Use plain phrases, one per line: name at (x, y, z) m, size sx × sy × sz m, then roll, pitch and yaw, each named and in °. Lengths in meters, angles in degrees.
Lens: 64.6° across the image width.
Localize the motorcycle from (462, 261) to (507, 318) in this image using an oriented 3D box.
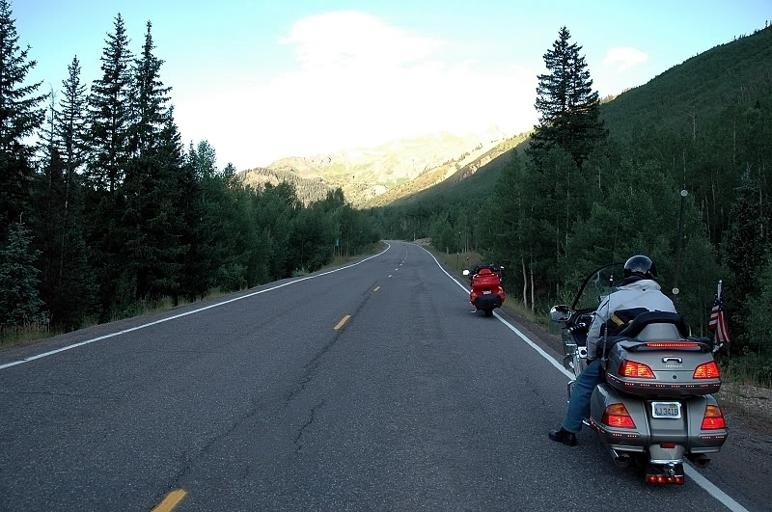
motorcycle at (3.298, 1.241, 20.566) m, size 1.190 × 1.981 × 1.638 m, roll 3°, pitch 12°, yaw 11°

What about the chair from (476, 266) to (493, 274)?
chair at (3.322, 0.505, 20.434) m, size 0.543 × 0.231 × 0.161 m, roll 1°, pitch 12°, yaw 0°
